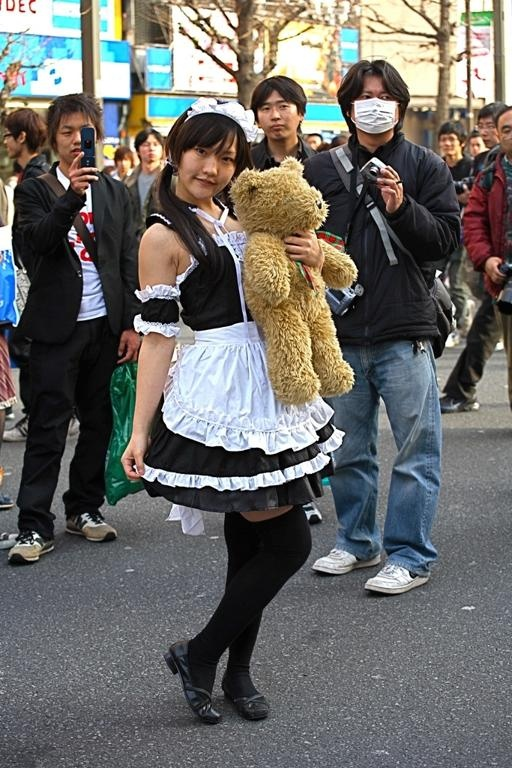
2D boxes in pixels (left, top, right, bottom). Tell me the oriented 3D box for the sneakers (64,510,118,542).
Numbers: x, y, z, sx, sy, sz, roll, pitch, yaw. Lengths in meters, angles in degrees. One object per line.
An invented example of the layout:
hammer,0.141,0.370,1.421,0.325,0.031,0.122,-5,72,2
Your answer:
sneakers,-0.887,0.755,3.841,0.317,0.134,0.116,0,4,38

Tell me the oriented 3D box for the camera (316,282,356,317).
camera,0.338,-0.345,2.903,0.128,0.148,0.248,20,-2,5

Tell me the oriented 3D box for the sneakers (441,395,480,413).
sneakers,1.907,0.178,6.670,0.283,0.131,0.104,3,34,-22

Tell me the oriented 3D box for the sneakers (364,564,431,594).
sneakers,0.587,0.793,2.950,0.272,0.106,0.099,2,-11,-39

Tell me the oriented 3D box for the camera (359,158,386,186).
camera,0.419,-0.766,2.552,0.089,0.089,0.033,-43,-5,17

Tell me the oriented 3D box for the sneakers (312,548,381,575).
sneakers,0.407,0.777,3.212,0.309,0.118,0.103,1,1,-22

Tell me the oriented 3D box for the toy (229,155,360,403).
toy,0.119,-0.261,1.782,0.358,0.528,0.293,-1,0,-17

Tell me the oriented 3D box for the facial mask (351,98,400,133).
facial mask,0.462,-1.043,2.744,0.141,0.093,0.145,1,19,4

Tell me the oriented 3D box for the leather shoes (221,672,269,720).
leather shoes,-0.031,0.812,1.901,0.068,0.112,0.194,-2,1,-24

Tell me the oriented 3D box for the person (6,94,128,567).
person,-0.935,-0.286,3.552,0.639,2.302,0.868,-1,0,-2

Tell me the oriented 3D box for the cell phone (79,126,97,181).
cell phone,-0.732,-1.025,3.073,0.064,0.188,0.117,-1,0,-14

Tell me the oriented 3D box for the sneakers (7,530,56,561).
sneakers,-1.104,0.780,3.448,0.143,0.154,0.268,-1,0,9
